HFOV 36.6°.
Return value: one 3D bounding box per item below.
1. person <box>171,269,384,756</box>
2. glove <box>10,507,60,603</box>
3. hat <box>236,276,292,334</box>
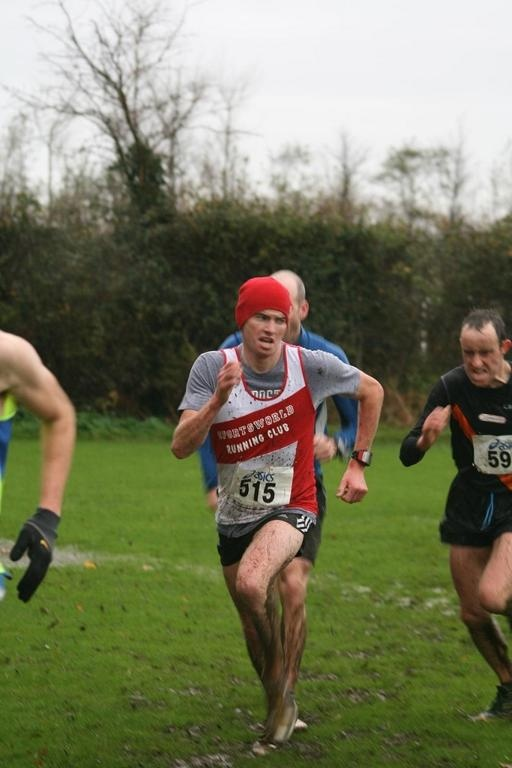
[{"bbox_3d":[0.031,0.484,2.916,0.541,1.755,1.002,4,0,30],"label":"person"},{"bbox_3d":[-0.570,0.442,1.974,0.081,0.236,0.120,13,15,-28],"label":"glove"},{"bbox_3d":[0.046,-0.330,2.948,0.194,0.211,0.243,-5,8,-26],"label":"hat"}]
